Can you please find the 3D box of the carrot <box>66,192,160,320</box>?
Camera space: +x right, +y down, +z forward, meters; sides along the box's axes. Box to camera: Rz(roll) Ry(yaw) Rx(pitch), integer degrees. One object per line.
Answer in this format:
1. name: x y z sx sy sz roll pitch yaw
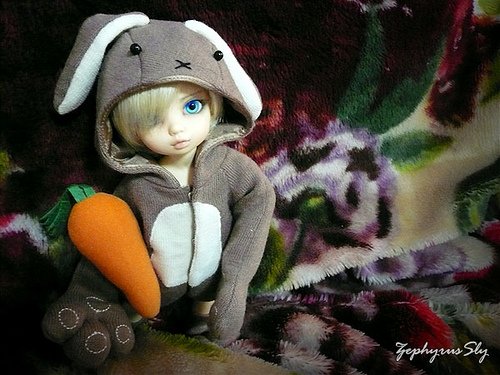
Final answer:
1. carrot: -0.323 0.156 1.333 0.182 0.150 0.352 -15 47 -35
